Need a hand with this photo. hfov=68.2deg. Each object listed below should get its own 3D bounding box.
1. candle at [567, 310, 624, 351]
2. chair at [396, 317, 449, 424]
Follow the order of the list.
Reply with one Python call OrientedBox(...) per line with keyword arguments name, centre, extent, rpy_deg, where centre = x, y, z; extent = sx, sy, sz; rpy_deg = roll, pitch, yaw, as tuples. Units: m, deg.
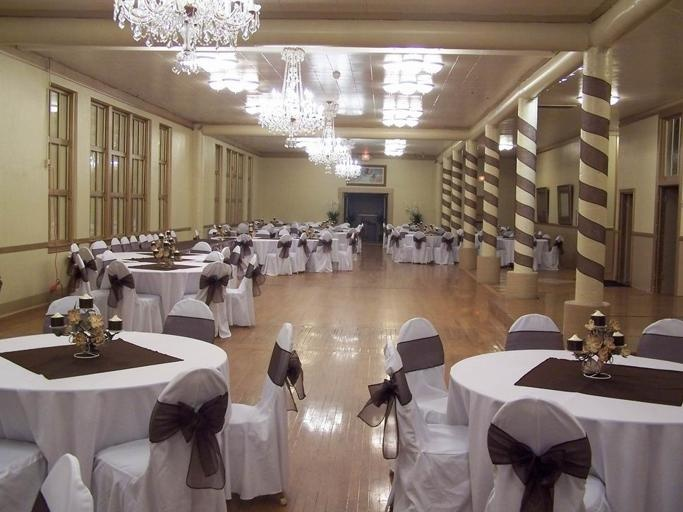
OrientedBox(name="candle", centre=(1.611, 0.487, 3.215), extent=(0.299, 0.246, 0.308), rpy_deg=(4, 11, 42))
OrientedBox(name="chair", centre=(0.615, 0.810, 3.921), extent=(0.346, 0.659, 0.498), rpy_deg=(-9, 0, 5))
